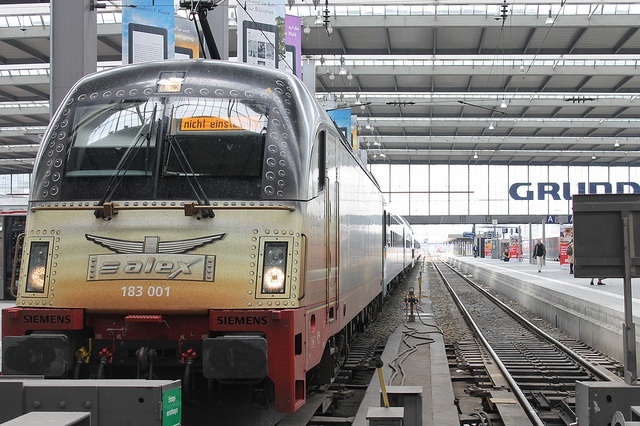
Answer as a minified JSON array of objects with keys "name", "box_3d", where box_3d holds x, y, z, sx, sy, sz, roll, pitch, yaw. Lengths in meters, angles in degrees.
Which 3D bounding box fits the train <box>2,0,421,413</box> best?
[{"name":"train","box_3d":[-1.205,0.385,6.949,4.900,4.620,2.597,4,-8,-44]}]

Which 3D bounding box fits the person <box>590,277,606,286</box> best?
[{"name":"person","box_3d":[11.931,2.955,22.194,0.553,0.234,2.458,-5,-7,28]}]
